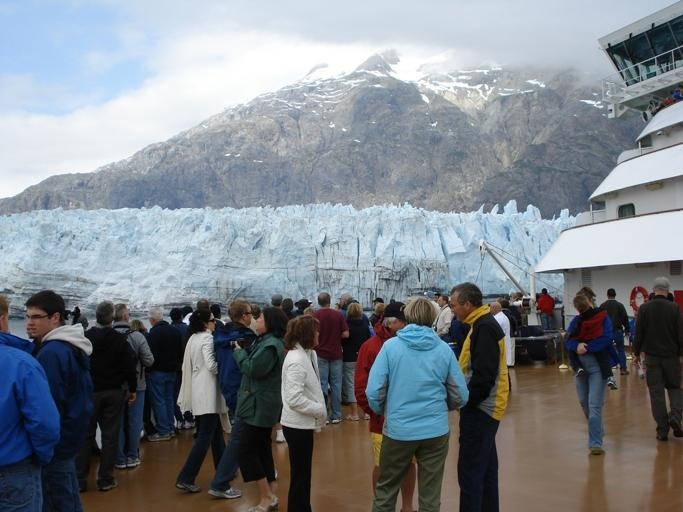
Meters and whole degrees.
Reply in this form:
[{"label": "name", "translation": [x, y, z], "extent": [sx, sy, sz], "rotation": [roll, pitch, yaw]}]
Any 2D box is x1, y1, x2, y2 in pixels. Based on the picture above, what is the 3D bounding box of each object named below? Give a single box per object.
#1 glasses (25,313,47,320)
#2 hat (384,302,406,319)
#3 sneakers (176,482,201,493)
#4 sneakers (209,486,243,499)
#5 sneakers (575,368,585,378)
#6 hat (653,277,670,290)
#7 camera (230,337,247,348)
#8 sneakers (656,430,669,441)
[{"label": "glasses", "translation": [-2.970, 0.581, 7.117], "extent": [0.210, 0.055, 0.090], "rotation": [-2, -5, 8]}, {"label": "hat", "translation": [0.604, 0.611, 8.226], "extent": [0.203, 0.118, 0.149], "rotation": [-3, 5, 15]}, {"label": "sneakers", "translation": [-1.767, 2.679, 8.580], "extent": [0.304, 0.139, 0.114], "rotation": [6, -8, -11]}, {"label": "sneakers", "translation": [-1.313, 2.712, 8.399], "extent": [0.371, 0.166, 0.141], "rotation": [2, -9, -8]}, {"label": "sneakers", "translation": [3.005, 1.444, 9.185], "extent": [0.056, 0.065, 0.146], "rotation": [0, -23, -5]}, {"label": "hat", "translation": [4.268, 0.352, 9.745], "extent": [0.154, 0.221, 0.202], "rotation": [7, 9, 21]}, {"label": "camera", "translation": [-1.207, 0.986, 8.381], "extent": [0.200, 0.111, 0.121], "rotation": [-5, -6, 31]}, {"label": "sneakers", "translation": [4.188, 2.309, 9.515], "extent": [0.116, 0.119, 0.122], "rotation": [-1, -2, 7]}]
